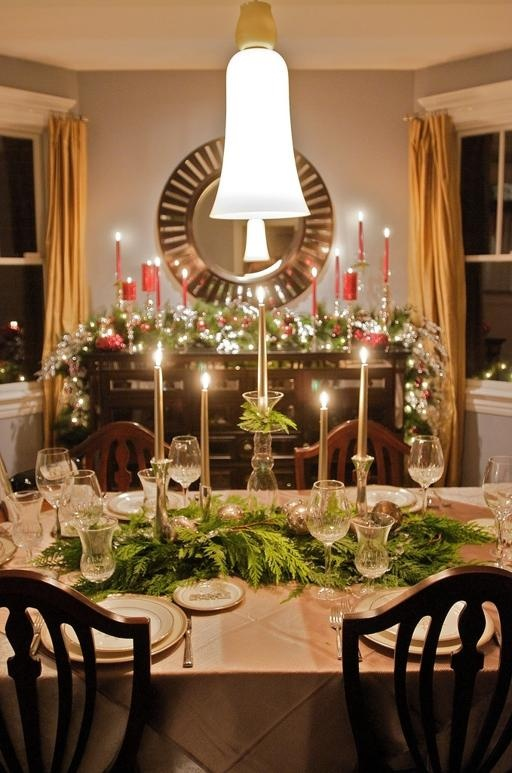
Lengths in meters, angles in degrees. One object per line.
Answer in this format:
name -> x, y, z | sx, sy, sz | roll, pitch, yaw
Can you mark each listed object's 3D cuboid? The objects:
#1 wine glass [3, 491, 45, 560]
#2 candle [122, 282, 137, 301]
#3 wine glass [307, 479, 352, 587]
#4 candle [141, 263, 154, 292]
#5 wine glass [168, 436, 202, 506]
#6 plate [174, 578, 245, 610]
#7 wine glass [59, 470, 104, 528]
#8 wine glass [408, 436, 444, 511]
wine glass -> -0.477, 0.272, 1.270 | 0.079, 0.116, 0.053 | -1, 4, 10
candle -> -0.652, -0.490, 3.218 | 0.065, 0.089, 0.075 | -2, 4, -4
wine glass -> 0.145, 0.271, 1.232 | 0.077, 0.203, 0.234 | -1, 4, 6
candle -> -0.564, -0.576, 3.302 | 0.060, 0.142, 0.155 | -2, 4, -10
wine glass -> -0.173, 0.211, 1.532 | 0.075, 0.198, 0.267 | -2, 4, -8
plate -> -0.088, 0.392, 1.183 | 0.137, 0.020, 0.121 | -4, 5, -29
wine glass -> -0.354, 0.227, 1.283 | 0.081, 0.096, 0.090 | -4, 5, -31
wine glass -> 0.410, 0.218, 1.538 | 0.075, 0.198, 0.129 | -1, 4, 4
